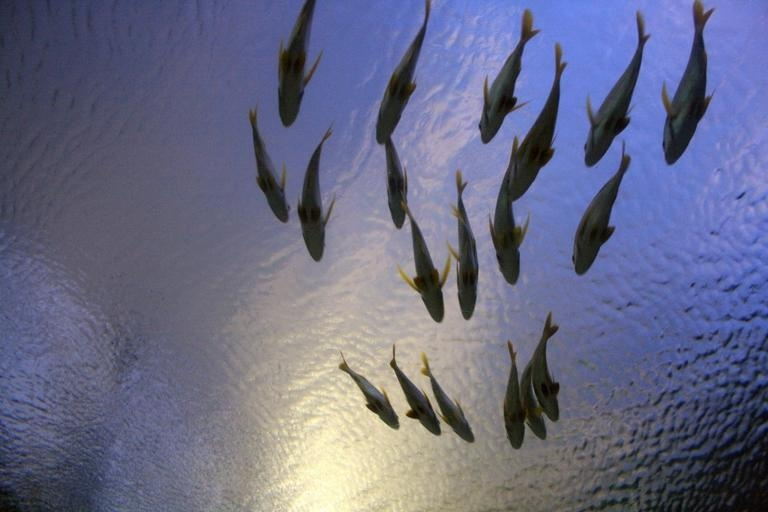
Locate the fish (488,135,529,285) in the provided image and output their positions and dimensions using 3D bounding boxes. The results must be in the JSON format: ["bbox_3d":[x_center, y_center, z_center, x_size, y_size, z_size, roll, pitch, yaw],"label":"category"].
[{"bbox_3d":[0.829,-0.252,5.395,0.213,1.095,0.370,-3,-15,0],"label":"fish"}]

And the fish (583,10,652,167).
[{"bbox_3d":[1.536,-1.113,5.323,0.410,1.053,0.341,3,18,-12],"label":"fish"}]

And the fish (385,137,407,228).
[{"bbox_3d":[0.095,-0.524,5.682,0.111,0.635,0.238,2,32,5],"label":"fish"}]

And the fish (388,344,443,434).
[{"bbox_3d":[0.236,1.030,5.723,0.207,0.153,0.614,-23,58,-10],"label":"fish"}]

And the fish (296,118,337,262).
[{"bbox_3d":[-0.471,-0.408,5.495,0.264,0.970,0.230,0,18,-21],"label":"fish"}]

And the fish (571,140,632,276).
[{"bbox_3d":[1.611,-0.329,5.762,0.161,0.943,0.291,14,9,2],"label":"fish"}]

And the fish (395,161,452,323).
[{"bbox_3d":[0.283,-0.020,5.519,0.273,1.011,0.233,-12,7,11],"label":"fish"}]

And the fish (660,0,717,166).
[{"bbox_3d":[2.048,-1.144,5.299,0.297,1.069,0.445,14,19,24],"label":"fish"}]

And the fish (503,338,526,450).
[{"bbox_3d":[0.924,1.009,5.621,0.134,0.832,0.257,1,16,5],"label":"fish"}]

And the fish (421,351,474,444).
[{"bbox_3d":[0.446,1.052,5.677,0.159,0.713,0.249,-33,2,34],"label":"fish"}]

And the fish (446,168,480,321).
[{"bbox_3d":[0.559,-0.032,5.487,0.195,1.158,0.347,-2,4,-1],"label":"fish"}]

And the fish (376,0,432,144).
[{"bbox_3d":[0.141,-1.447,5.939,0.178,1.120,0.362,15,28,-4],"label":"fish"}]

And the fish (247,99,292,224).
[{"bbox_3d":[-0.807,-0.615,5.598,0.313,0.799,0.315,4,18,-9],"label":"fish"}]
